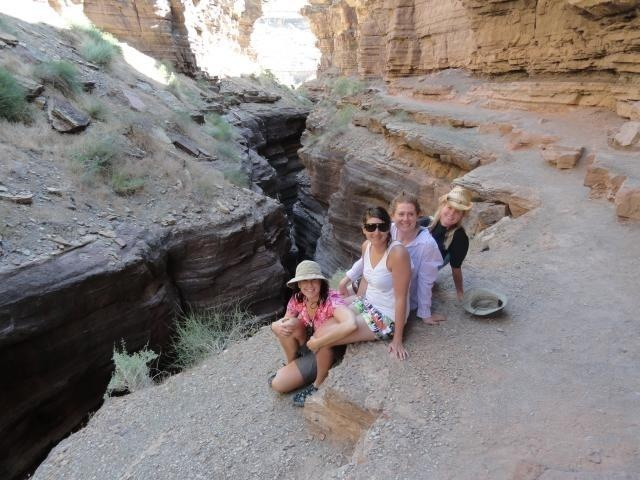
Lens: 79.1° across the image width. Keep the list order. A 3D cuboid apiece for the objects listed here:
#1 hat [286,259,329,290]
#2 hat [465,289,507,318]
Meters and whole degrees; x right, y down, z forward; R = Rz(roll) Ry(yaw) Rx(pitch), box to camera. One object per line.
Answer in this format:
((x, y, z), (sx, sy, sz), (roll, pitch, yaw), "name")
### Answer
((-0.147, 0.347, 4.348), (0.403, 0.341, 0.164), (-7, 61, -2), "hat")
((1.895, 0.740, 4.477), (0.431, 0.239, 0.335), (14, 30, 26), "hat")
